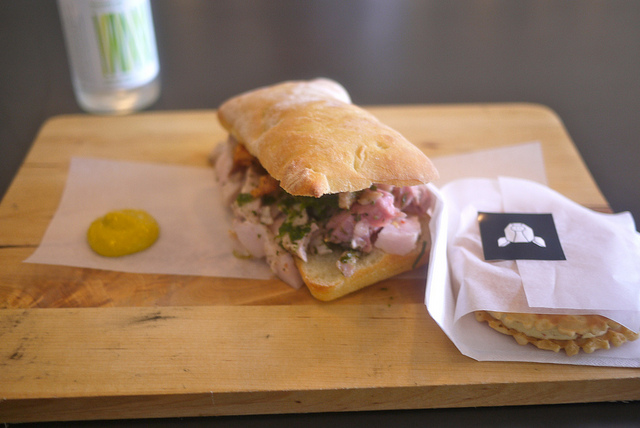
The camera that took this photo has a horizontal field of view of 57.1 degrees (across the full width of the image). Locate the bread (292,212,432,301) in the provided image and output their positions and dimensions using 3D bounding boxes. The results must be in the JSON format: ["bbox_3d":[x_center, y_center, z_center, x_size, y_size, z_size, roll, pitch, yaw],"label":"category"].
[{"bbox_3d":[0.202,0.279,3.061,0.473,0.114,0.467,-18,32,-12],"label":"bread"}]
